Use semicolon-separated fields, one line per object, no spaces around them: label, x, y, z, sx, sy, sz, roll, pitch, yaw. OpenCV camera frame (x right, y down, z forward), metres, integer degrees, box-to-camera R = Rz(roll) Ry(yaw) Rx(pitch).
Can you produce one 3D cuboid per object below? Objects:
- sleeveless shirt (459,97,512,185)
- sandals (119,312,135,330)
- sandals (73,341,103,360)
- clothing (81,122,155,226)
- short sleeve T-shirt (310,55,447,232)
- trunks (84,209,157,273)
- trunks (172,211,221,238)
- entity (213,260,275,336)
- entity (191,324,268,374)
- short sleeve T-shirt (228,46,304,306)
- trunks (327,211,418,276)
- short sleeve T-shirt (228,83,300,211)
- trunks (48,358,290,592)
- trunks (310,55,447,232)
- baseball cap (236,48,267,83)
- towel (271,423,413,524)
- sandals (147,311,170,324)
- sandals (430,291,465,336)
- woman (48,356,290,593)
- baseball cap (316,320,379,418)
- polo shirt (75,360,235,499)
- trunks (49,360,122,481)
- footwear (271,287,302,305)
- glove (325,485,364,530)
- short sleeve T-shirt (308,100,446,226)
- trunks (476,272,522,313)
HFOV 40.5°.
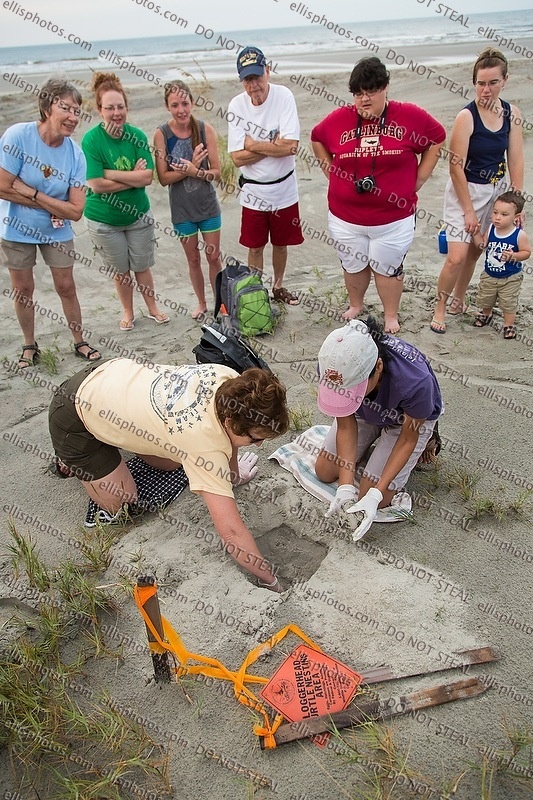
sleeveless shirt;1.454;-1.700;4.787;0.300;0.516;0.183;0;27;7
sandals;-1.069;-0.591;5.537;0.078;0.072;0.178;-2;19;-5
sandals;-1.284;-0.346;5.175;0.267;0.101;0.092;26;70;36
clothing;-1.032;-1.559;5.030;0.526;0.631;0.365;-19;42;-25
short sleeve T-shirt;0.718;-1.586;4.517;0.739;0.996;0.454;2;28;11
trunks;-1.045;-1.197;5.219;0.448;0.558;0.331;-23;32;-31
trunks;-0.502;-1.304;5.314;0.349;0.231;0.182;-8;61;-5
entity;-0.172;-0.663;4.744;0.394;0.445;0.456;-8;26;-5
entity;-0.219;-0.249;3.757;0.347;0.137;0.273;30;23;6
short sleeve T-shirt;-0.010;-1.544;5.228;0.585;1.736;0.523;-3;23;-5
trunks;0.721;-1.109;4.921;0.583;0.475;0.412;6;17;16
short sleeve T-shirt;-0.031;-1.774;5.123;0.519;0.835;0.348;1;28;9
trunks;-0.480;0.390;3.465;0.880;0.677;0.631;24;50;-6
trunks;0.718;-1.586;4.517;0.739;0.996;0.454;2;28;11
baseball cap;-0.103;-2.243;4.799;0.164;0.129;0.231;-7;48;18
towel;0.335;0.395;4.105;0.603;0.063;0.598;-7;24;-22
sandals;-0.856;-0.649;5.641;0.149;0.047;0.083;18;35;37
sandals;1.340;-0.700;5.365;0.161;0.199;0.459;-1;58;7
woman;-0.479;0.392;3.468;0.882;0.695;0.632;24;50;-6
baseball cap;0.324;-0.136;3.225;0.295;0.413;0.214;13;-4;33
polo shirt;-0.452;0.075;3.345;0.959;0.425;0.409;19;34;38
trunks;-0.894;0.132;3.596;0.343;0.574;0.422;-9;67;-18
footwear;0.140;-0.821;5.767;0.238;0.097;0.108;19;65;24
glove;0.375;0.520;3.592;0.147;0.214;0.100;33;-1;-11
short sleeve T-shirt;0.674;-1.564;4.674;0.939;0.668;0.473;12;38;24
trunks;1.627;-0.754;5.058;0.261;0.301;0.165;26;67;36
